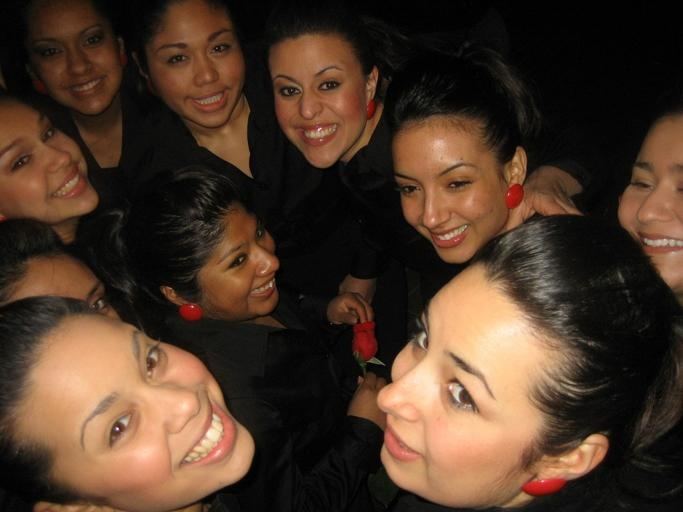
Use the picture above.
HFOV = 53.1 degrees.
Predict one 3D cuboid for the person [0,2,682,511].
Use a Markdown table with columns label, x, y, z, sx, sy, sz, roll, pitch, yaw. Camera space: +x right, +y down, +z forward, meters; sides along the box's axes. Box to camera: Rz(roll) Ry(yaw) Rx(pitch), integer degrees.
| label | x | y | z | sx | sy | sz | roll | pitch | yaw |
| --- | --- | --- | --- | --- | --- | --- | --- | --- | --- |
| person | -0.073 | -0.018 | 3.984 | 3.465 | 1.156 | 1.090 | 7 | 18 | -14 |
